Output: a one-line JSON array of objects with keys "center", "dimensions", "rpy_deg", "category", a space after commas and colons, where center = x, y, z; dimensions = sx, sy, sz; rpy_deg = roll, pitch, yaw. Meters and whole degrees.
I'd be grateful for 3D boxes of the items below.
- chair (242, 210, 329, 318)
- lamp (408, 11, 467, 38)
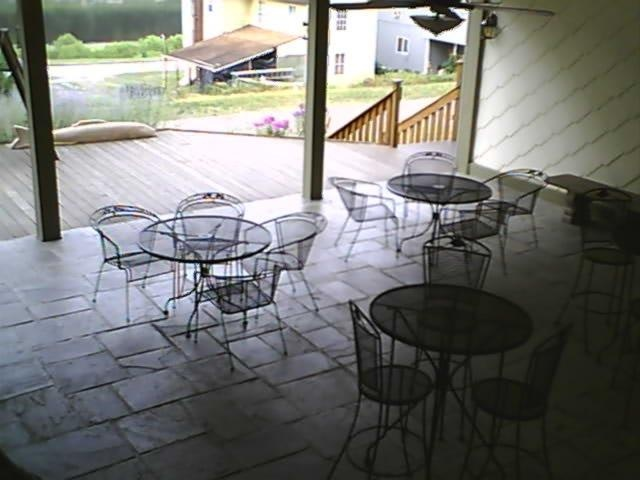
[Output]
[{"center": [-0.417, 0.231, 5.823], "dimensions": [0.920, 0.855, 0.862], "rpy_deg": [-8, 21, -38], "category": "chair"}, {"center": [1.015, -1.890, 4.718], "dimensions": [0.292, 0.145, 0.268], "rpy_deg": [9, 28, 17], "category": "lamp"}]
